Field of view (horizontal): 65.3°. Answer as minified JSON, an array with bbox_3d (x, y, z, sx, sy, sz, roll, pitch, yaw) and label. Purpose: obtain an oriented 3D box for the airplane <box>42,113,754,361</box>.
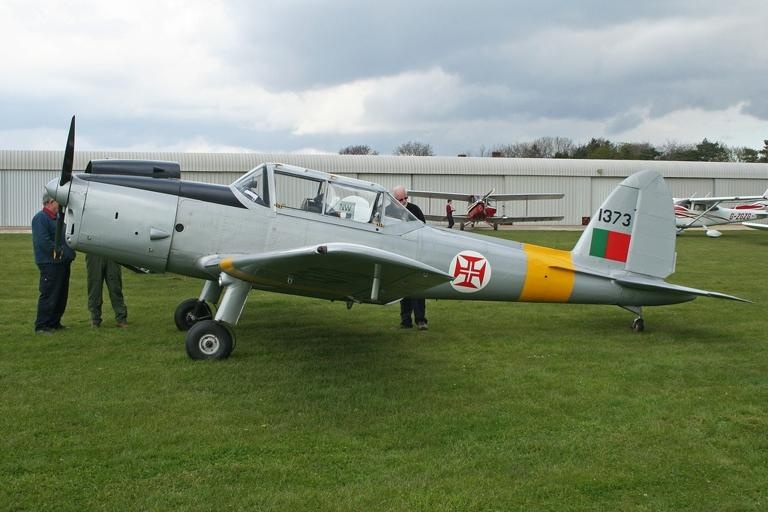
[{"bbox_3d":[-0.432,-0.205,8.220,5.554,1.529,5.675,1,1,-18],"label":"airplane"}]
